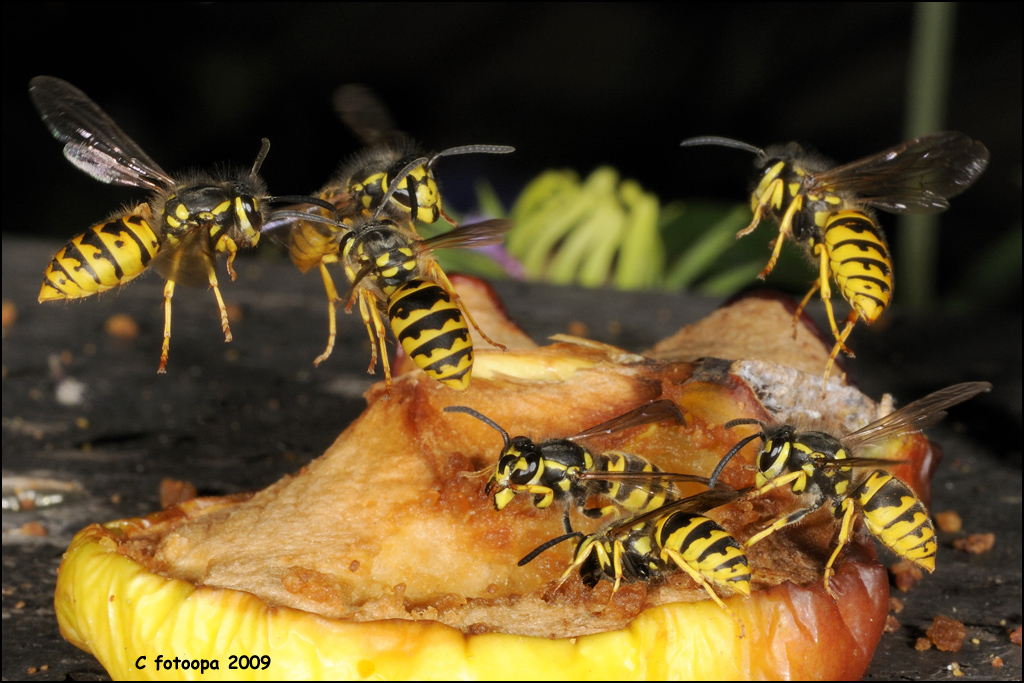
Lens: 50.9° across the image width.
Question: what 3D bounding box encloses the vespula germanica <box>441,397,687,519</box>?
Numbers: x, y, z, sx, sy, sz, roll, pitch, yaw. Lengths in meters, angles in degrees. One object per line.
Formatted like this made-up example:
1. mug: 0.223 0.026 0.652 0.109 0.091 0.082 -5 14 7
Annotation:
1. vespula germanica: 0.157 0.323 2.730 0.601 0.341 0.264 4 116 -11

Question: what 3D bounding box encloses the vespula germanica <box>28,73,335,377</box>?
1. vespula germanica: -0.968 -0.341 3.128 0.577 1.052 1.045 2 92 -18

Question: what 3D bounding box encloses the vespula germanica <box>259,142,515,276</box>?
1. vespula germanica: -0.365 -0.411 3.047 0.577 0.496 0.134 -22 101 -1

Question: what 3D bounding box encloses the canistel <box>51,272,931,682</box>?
1. canistel: -0.116 0.425 2.652 1.449 1.158 0.565 -2 99 -4
